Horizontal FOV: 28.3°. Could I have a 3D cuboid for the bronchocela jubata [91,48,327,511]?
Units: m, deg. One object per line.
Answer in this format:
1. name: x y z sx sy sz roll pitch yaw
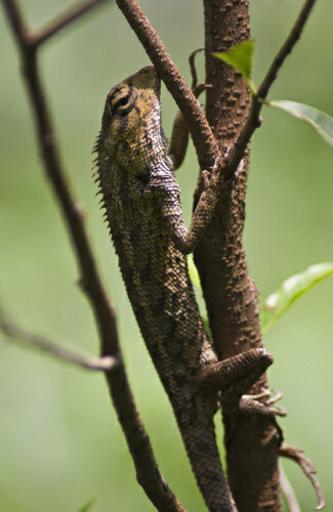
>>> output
1. bronchocela jubata: 0.145 0.075 1.913 0.396 1.320 0.510 -16 7 -36
